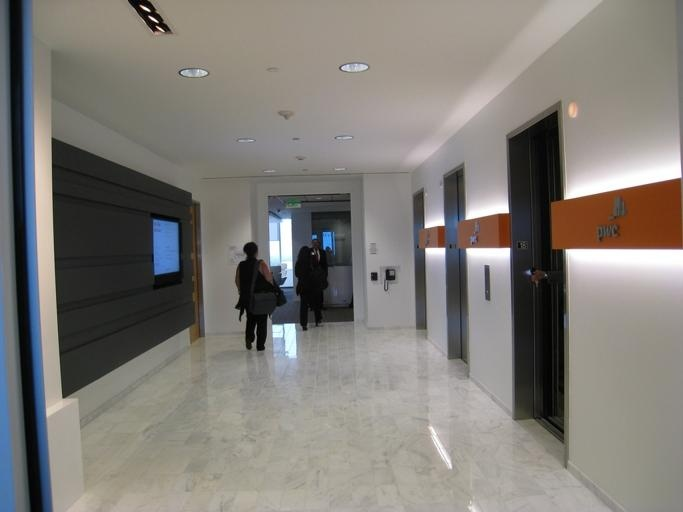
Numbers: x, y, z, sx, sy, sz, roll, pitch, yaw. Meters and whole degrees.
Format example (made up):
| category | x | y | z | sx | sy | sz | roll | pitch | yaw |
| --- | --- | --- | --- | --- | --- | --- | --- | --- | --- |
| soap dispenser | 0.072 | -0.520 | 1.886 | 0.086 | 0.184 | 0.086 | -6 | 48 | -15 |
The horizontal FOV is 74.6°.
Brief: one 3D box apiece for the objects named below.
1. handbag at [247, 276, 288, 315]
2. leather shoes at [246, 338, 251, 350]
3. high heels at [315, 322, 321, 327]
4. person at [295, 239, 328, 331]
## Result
| category | x | y | z | sx | sy | sz | roll | pitch | yaw |
| --- | --- | --- | --- | --- | --- | --- | --- | --- | --- |
| handbag | -1.225 | 0.706 | 7.730 | 0.753 | 0.861 | 0.461 | -1 | 6 | -8 |
| leather shoes | -1.596 | 1.547 | 7.761 | 0.083 | 0.161 | 0.148 | 0 | 0 | -3 |
| high heels | -0.475 | 1.464 | 9.486 | 0.076 | 0.088 | 0.148 | 2 | -8 | 5 |
| person | -0.628 | 0.646 | 9.454 | 0.646 | 1.696 | 0.628 | -3 | 3 | -20 |
